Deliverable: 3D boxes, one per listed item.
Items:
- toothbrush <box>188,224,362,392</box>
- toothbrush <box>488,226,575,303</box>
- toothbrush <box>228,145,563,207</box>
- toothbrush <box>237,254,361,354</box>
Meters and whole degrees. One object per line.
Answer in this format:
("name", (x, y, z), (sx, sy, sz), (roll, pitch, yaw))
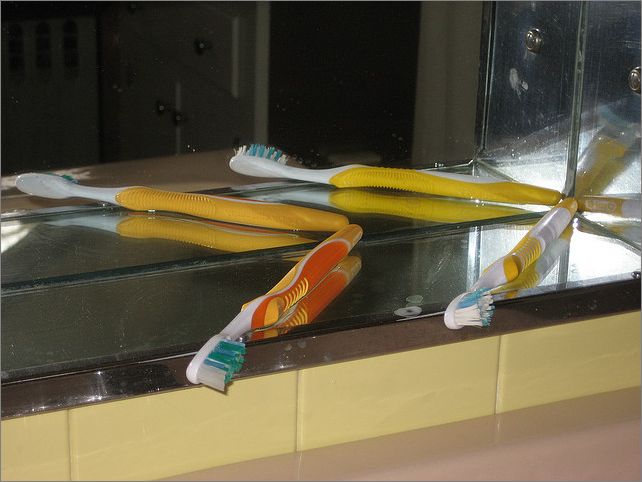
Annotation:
("toothbrush", (-0.008, 0.041, 0.632), (0.053, 0.031, 0.273), (22, 42, 29))
("toothbrush", (0.228, 0.008, 0.678), (0.037, 0.028, 0.209), (-3, 19, 41))
("toothbrush", (0.081, -0.077, 0.825), (0.390, 0.042, 0.049), (6, 2, 8))
("toothbrush", (0.000, 0.039, 0.632), (0.035, 0.022, 0.201), (2, 22, 35))
